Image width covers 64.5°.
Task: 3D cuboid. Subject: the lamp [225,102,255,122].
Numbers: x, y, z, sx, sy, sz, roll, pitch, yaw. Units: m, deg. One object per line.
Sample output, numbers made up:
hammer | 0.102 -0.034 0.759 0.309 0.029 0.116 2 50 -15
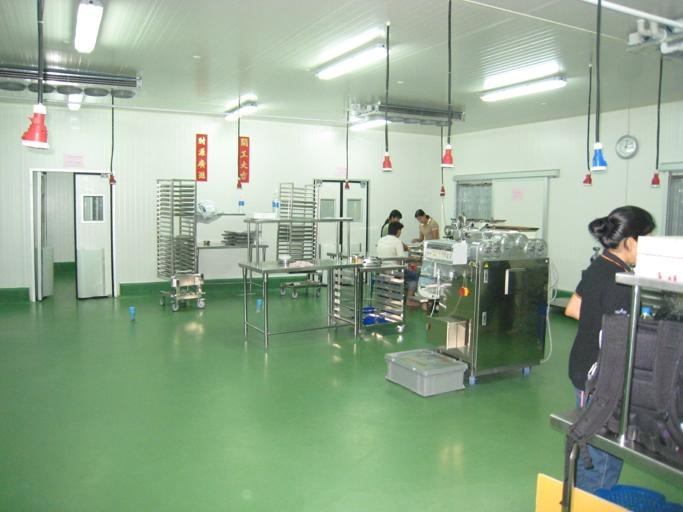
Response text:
lamp | -1.832 -2.673 9.958 0.528 0.244 1.478 -2 11 -15

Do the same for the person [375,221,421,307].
person | 1.053 0.129 9.630 0.791 1.593 0.643 1 13 -13

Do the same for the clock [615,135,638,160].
clock | 4.795 -1.826 9.127 0.116 0.410 0.408 -3 11 -18

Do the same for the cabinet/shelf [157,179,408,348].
cabinet/shelf | -0.615 0.250 9.382 3.464 2.840 3.179 -1 2 -26

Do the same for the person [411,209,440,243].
person | 1.804 -0.525 11.446 0.477 0.841 0.527 -20 15 -32

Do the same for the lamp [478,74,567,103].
lamp | 2.757 -2.492 8.110 0.756 0.217 1.635 -5 12 -30

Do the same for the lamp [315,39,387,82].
lamp | 0.185 -2.489 6.922 0.523 0.242 1.571 -5 12 -29
